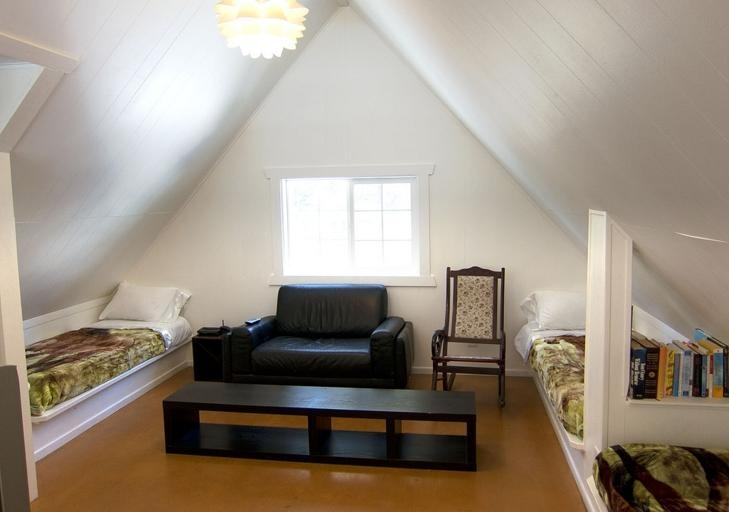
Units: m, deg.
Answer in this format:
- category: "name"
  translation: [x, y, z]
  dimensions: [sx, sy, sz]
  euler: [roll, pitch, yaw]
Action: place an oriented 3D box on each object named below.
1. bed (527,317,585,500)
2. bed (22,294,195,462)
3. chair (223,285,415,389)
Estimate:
- category: "bed"
  translation: [1.358, 0.931, 3.888]
  dimensions: [0.174, 0.792, 0.582]
  euler: [-20, -25, 18]
- category: "bed"
  translation: [-2.353, 0.899, 4.868]
  dimensions: [0.869, 0.749, 1.972]
  euler: [2, 11, 16]
- category: "chair"
  translation: [-0.386, 0.702, 5.077]
  dimensions: [1.596, 0.731, 0.735]
  euler: [1, 10, 8]
